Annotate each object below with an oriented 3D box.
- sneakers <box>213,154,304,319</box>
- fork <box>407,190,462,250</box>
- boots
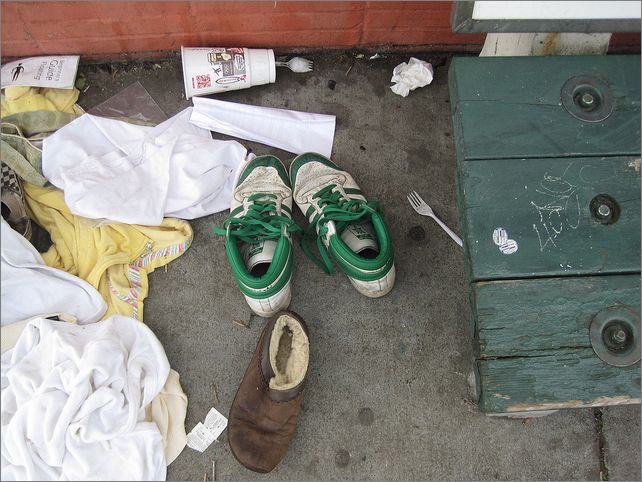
[{"bbox_3d":[-0.215,-0.030,2.083,0.249,0.231,0.610,-3,79,2],"label":"sneakers"},{"bbox_3d":[0.443,-0.073,2.216,0.048,0.032,0.282,-41,91,-6],"label":"fork"},{"bbox_3d":[-0.181,0.562,2.057,0.238,0.212,0.612,18,88,0],"label":"boots"}]
